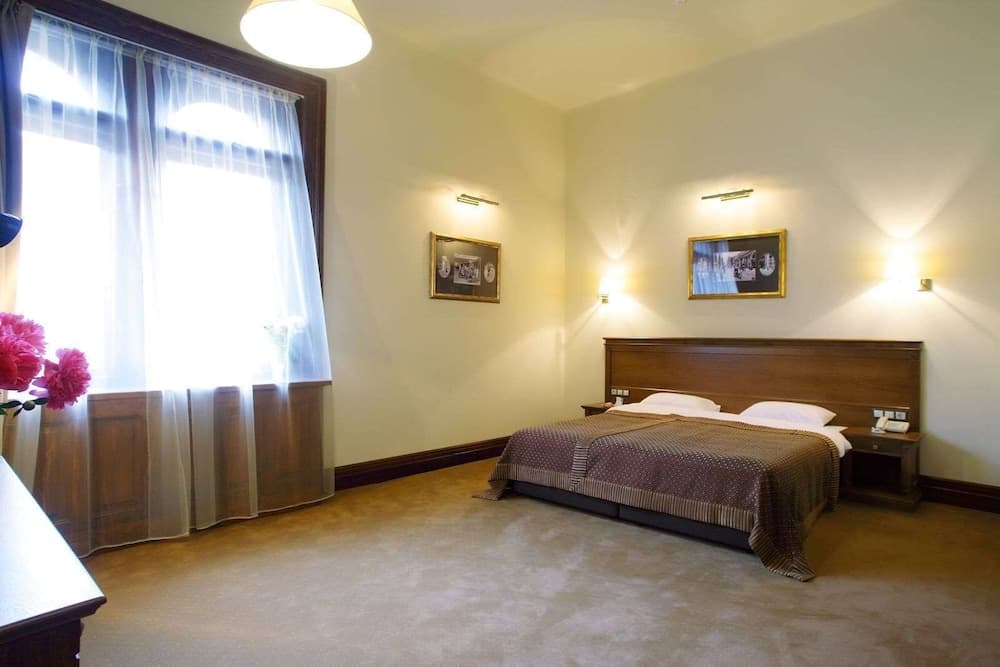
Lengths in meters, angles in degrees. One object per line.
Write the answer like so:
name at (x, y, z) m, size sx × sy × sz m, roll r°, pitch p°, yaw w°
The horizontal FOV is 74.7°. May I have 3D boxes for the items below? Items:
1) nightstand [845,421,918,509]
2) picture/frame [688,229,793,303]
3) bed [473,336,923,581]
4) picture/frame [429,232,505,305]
nightstand at (3.497, 1.218, 6.017) m, size 0.485 × 0.604 × 0.626 m, roll -8°, pitch 8°, yaw -41°
picture/frame at (2.588, -0.712, 6.940) m, size 0.800 × 0.603 × 0.032 m, roll 0°, pitch -1°, yaw 36°
bed at (2.115, 0.992, 5.932) m, size 2.659 × 1.282 × 2.194 m, roll 0°, pitch -3°, yaw 37°
picture/frame at (-0.379, -0.703, 7.246) m, size 0.894 × 0.690 × 0.027 m, roll 9°, pitch 17°, yaw 29°
